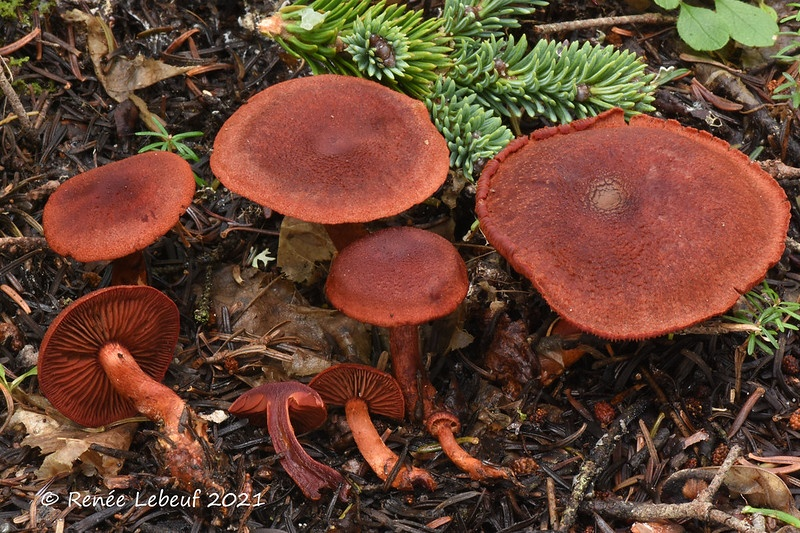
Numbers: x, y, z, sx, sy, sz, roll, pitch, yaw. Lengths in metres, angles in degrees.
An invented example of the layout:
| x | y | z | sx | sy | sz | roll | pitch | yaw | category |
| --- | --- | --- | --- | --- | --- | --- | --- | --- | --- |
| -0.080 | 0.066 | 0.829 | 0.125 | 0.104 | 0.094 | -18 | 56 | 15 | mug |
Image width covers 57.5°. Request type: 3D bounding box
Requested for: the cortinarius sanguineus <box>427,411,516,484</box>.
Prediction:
| x | y | z | sx | sy | sz | roll | pitch | yaw | category |
| --- | --- | --- | --- | --- | --- | --- | --- | --- | --- |
| 0.499 | 1.310 | 5.408 | 0.336 | 0.183 | 0.668 | -17 | 43 | -39 | cortinarius sanguineus |
